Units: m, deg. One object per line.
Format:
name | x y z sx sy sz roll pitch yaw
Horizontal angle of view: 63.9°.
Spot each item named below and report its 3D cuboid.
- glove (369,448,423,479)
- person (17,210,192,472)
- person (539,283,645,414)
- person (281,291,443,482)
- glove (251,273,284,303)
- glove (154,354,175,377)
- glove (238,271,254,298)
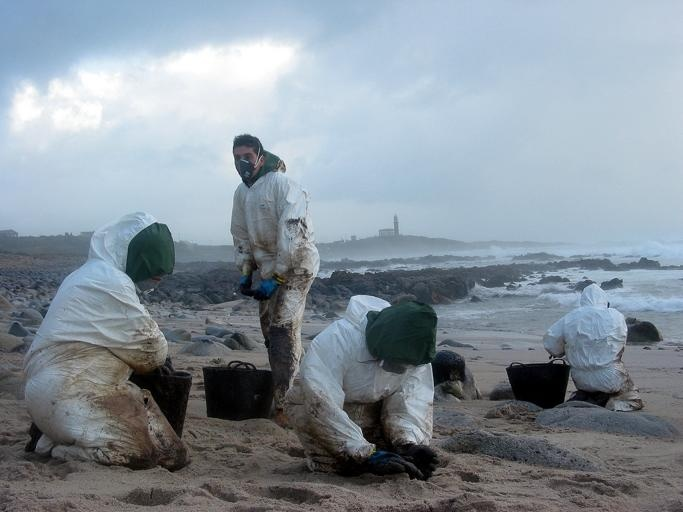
glove | 0.348 1.325 3.536 0.281 0.076 0.196 15 7 16
person | -1.580 0.592 3.743 1.010 1.777 0.730 -2 3 -29
person | 3.045 1.195 6.602 0.428 1.120 0.999 -2 3 -36
person | 0.143 0.926 3.968 1.035 1.153 1.327 12 -7 -43
glove | -0.681 0.297 5.129 0.248 0.261 0.301 0 3 16
glove | -1.382 0.885 4.313 0.039 0.139 0.151 -17 19 38
glove | -0.922 0.279 5.330 0.184 0.221 0.089 20 0 -5
